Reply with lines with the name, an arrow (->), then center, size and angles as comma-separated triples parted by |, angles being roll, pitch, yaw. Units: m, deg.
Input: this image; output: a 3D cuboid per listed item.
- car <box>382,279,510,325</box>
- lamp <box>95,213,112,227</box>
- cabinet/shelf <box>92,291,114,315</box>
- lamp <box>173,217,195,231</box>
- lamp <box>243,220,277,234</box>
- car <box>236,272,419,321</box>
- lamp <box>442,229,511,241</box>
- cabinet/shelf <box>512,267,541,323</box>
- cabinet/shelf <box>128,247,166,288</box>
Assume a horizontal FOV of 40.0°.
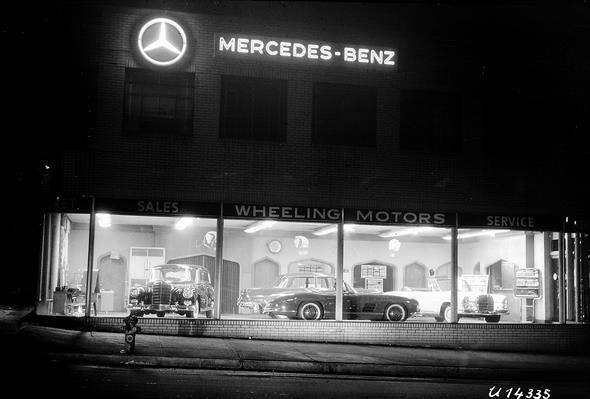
car -> 5.821, 3.618, 30.013 | 3.334, 1.456, 1.960 | 0, -4, 2
lamp -> -6.644, 0.709, 28.208 | 0.570, 0.438, 0.789 | 0, -8, 19
cabinet/shelf -> -6.631, 3.561, 28.191 | 0.695, 0.908, 0.928 | 0, -2, -24
lamp -> -3.908, 0.864, 28.595 | 0.704, 0.488, 0.223 | 3, 4, -12
lamp -> -1.282, 0.971, 28.924 | 0.616, 0.150, 0.647 | -24, -22, 40
car -> 1.196, 3.151, 29.571 | 5.221, 1.533, 2.318 | 2, -4, -10
lamp -> 6.900, 1.279, 30.011 | 1.925, 0.379, 0.178 | 2, 4, -19
cabinet/shelf -> 8.675, 3.530, 30.457 | 0.921, 1.921, 0.298 | -1, 3, 13
cabinet/shelf -> -5.248, 2.413, 28.462 | 1.288, 2.044, 0.582 | 1, -10, -11
